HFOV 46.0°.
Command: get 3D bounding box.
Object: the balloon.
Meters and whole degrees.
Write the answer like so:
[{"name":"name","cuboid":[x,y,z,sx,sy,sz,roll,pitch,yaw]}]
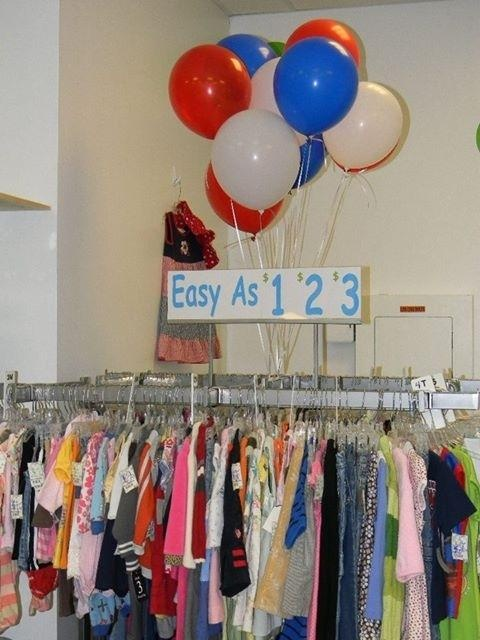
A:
[{"name":"balloon","cuboid":[0.167,-0.718,1.939,0.681,0.769,0.775,-4,-8,29]}]
